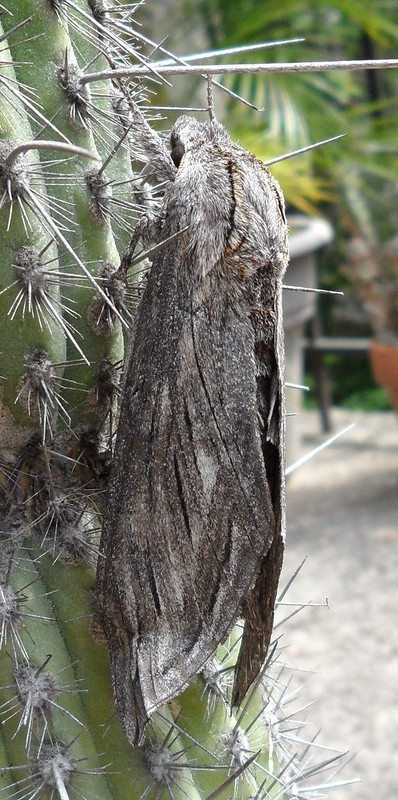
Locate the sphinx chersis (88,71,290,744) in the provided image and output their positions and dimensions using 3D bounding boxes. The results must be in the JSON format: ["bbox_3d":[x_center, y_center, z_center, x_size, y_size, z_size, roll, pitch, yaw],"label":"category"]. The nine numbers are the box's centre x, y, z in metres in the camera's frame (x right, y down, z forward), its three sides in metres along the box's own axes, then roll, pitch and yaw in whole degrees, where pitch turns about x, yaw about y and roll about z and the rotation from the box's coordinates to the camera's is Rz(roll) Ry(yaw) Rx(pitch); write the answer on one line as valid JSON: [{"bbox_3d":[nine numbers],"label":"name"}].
[{"bbox_3d":[-0.009,0.042,1.046,0.157,0.599,0.278,5,25,35],"label":"sphinx chersis"}]
